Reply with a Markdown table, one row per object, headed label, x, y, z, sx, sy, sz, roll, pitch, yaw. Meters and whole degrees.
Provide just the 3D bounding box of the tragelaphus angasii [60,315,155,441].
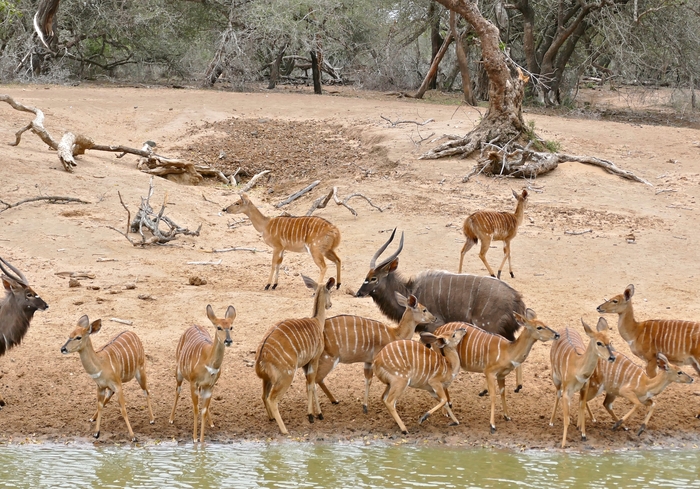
| label | x | y | z | sx | sy | sz | roll | pitch | yaw |
| --- | --- | --- | --- | --- | --- | --- | --- | --- | --- |
| tragelaphus angasii | -2.819 | 1.554 | 9.656 | 0.729 | 1.528 | 0.934 | 5 | 12 | 17 |
